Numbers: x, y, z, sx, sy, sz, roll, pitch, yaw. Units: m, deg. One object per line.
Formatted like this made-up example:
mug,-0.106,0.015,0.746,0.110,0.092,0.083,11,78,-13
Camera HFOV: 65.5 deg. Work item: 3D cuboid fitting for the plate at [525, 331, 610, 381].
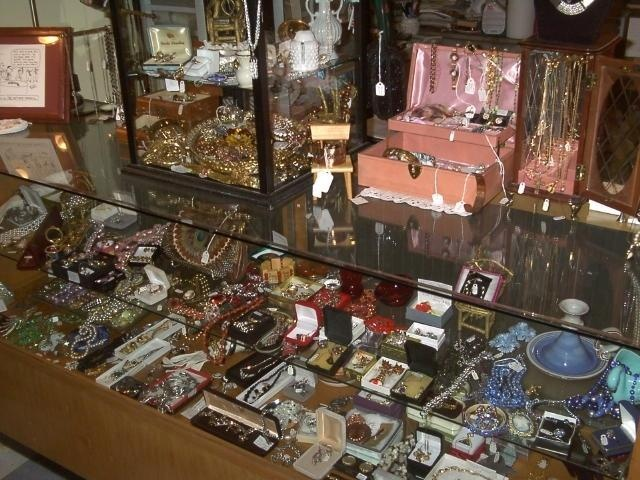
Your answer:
plate,0.644,0.297,1.320,0.190,0.082,0.181,9,35,25

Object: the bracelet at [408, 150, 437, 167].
bracelet,0.383,-0.309,1.882,0.107,0.031,0.069,4,43,3
